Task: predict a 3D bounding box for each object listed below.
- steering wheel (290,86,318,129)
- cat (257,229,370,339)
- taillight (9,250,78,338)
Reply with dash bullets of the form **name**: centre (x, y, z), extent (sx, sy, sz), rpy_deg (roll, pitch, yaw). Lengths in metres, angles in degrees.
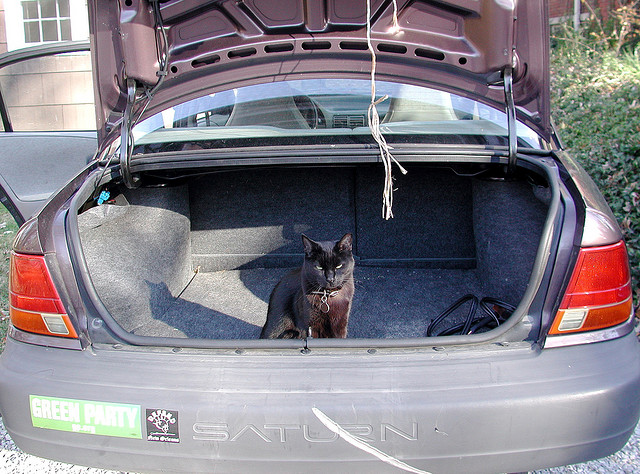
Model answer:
- **steering wheel**: centre (-0.082, -0.643, 2.507), extent (0.128, 0.197, 0.040), rpy_deg (-3, 7, -1)
- **cat**: centre (-0.038, 0.300, 2.749), extent (0.512, 0.650, 0.873), rpy_deg (-1, 4, -24)
- **taillight**: centre (-1.034, 0.187, 1.895), extent (0.233, 0.233, 0.322), rpy_deg (-1, 14, -15)
